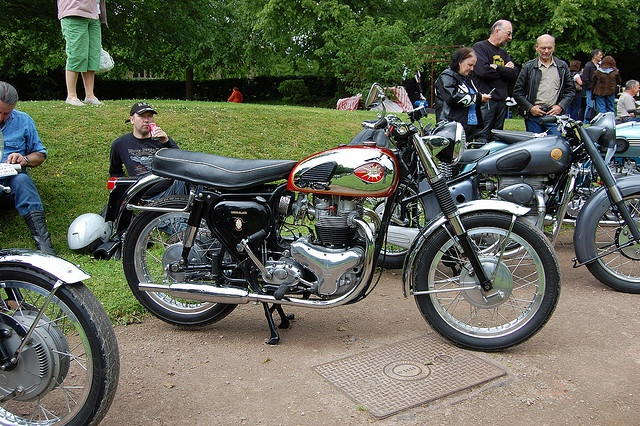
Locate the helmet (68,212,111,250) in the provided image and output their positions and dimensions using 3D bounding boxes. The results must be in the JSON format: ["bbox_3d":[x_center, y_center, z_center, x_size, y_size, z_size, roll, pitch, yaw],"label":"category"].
[{"bbox_3d":[-2.746,0.244,6.580,0.373,0.395,0.489,-11,-14,34],"label":"helmet"}]

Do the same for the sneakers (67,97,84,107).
[{"bbox_3d":[-4.364,-2.001,9.605,0.363,0.143,0.132,6,19,12],"label":"sneakers"}]

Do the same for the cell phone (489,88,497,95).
[{"bbox_3d":[2.544,-1.790,7.899,0.208,0.043,0.033,-59,19,-23],"label":"cell phone"}]
